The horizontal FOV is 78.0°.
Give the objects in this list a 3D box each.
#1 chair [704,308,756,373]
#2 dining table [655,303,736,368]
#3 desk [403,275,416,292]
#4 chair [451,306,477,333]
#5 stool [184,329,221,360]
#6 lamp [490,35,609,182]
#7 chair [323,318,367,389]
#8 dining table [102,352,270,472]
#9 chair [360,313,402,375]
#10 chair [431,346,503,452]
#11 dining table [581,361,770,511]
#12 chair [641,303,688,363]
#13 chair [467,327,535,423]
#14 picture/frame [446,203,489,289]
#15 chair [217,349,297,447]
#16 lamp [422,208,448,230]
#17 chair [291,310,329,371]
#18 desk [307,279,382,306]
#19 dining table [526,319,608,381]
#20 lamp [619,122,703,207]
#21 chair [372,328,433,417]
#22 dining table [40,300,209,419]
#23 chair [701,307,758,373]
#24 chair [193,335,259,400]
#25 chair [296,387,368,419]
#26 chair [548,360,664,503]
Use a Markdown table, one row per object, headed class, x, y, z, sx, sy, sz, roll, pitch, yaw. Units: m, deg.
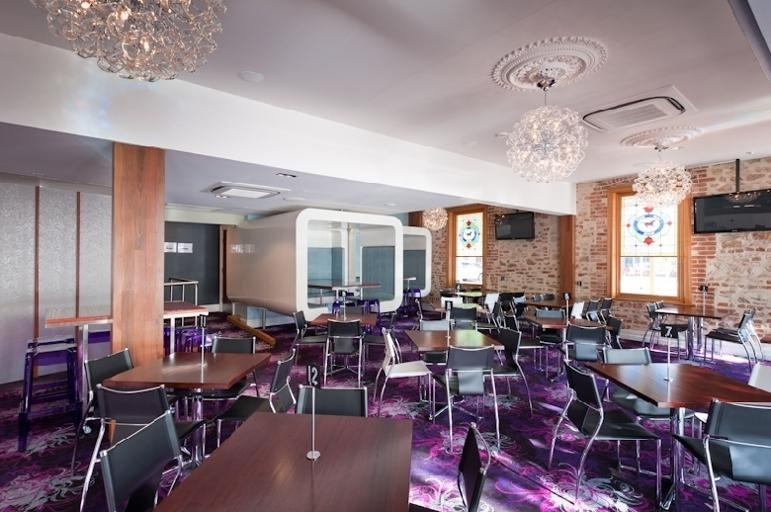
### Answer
| class | x | y | z | sx | sy | sz | roll | pitch | yaw |
| --- | --- | --- | --- | --- | --- | --- | --- | --- | --- |
| chair | 5.576 | 1.281 | 7.591 | 0.777 | 0.775 | 0.769 | -6 | 6 | 0 |
| dining table | 5.120 | 1.181 | 7.845 | 0.958 | 0.876 | 0.974 | 5 | 11 | 41 |
| desk | 0.677 | 0.731 | 12.894 | 0.358 | 0.339 | 1.499 | -1 | -1 | 3 |
| chair | 1.267 | 0.999 | 7.673 | 0.363 | 0.500 | 0.358 | 0 | -15 | 3 |
| stool | -2.615 | 1.361 | 6.687 | 0.398 | 0.465 | 0.683 | -1 | 0 | -26 |
| lamp | 1.844 | -1.616 | 5.636 | 1.362 | 1.274 | 1.342 | -1 | 2 | 19 |
| chair | -0.603 | 1.386 | 7.001 | 0.582 | 0.880 | 0.626 | 1 | -1 | 6 |
| dining table | -1.992 | 1.656 | 5.077 | 1.257 | 1.117 | 1.213 | 2 | -5 | 2 |
| chair | -0.126 | 1.503 | 8.122 | 0.502 | 0.643 | 0.520 | -6 | -8 | 27 |
| chair | 0.926 | 1.482 | 5.484 | 0.946 | 1.312 | 1.073 | 0 | 1 | -4 |
| dining table | 2.889 | 1.623 | 4.935 | 1.478 | 1.276 | 1.429 | 1 | 5 | -19 |
| chair | 4.841 | 1.238 | 8.194 | 0.581 | 0.826 | 0.498 | -1 | 5 | 43 |
| chair | 1.351 | 1.442 | 5.896 | 0.728 | 0.954 | 0.693 | -9 | -2 | -11 |
| picture/frame | 2.155 | -0.252 | 12.510 | 0.258 | 2.108 | 1.384 | 0 | -1 | -31 |
| chair | -1.342 | 1.564 | 5.022 | 0.706 | 0.987 | 0.602 | 1 | 3 | 3 |
| lamp | 1.371 | -0.980 | 13.164 | 0.526 | 0.589 | 0.840 | 0 | -1 | -25 |
| chair | -1.124 | 1.230 | 7.534 | 0.655 | 0.731 | 0.601 | 0 | 8 | -5 |
| desk | -0.855 | 0.773 | 10.482 | 0.806 | 0.404 | 1.704 | -1 | -1 | 34 |
| dining table | 2.508 | 1.479 | 7.151 | 0.944 | 0.775 | 1.096 | 2 | -1 | -15 |
| lamp | 4.277 | -1.259 | 7.245 | 1.040 | 1.089 | 1.074 | -10 | -12 | 41 |
| chair | 0.201 | 1.446 | 6.071 | 0.795 | 0.901 | 0.662 | -4 | 0 | -19 |
| dining table | -3.169 | 1.611 | 6.119 | 2.082 | 1.227 | 1.084 | 0 | 3 | -37 |
| chair | 5.615 | 1.272 | 7.696 | 0.779 | 0.836 | 0.719 | -7 | 11 | 25 |
| chair | -1.705 | 1.332 | 5.313 | 0.642 | 0.915 | 0.679 | 3 | -16 | -15 |
| chair | -0.486 | 1.359 | 4.373 | 0.495 | 0.314 | 0.262 | 2 | 3 | 8 |
| chair | 2.244 | 1.728 | 4.909 | 0.965 | 1.137 | 0.830 | 0 | 0 | -10 |
